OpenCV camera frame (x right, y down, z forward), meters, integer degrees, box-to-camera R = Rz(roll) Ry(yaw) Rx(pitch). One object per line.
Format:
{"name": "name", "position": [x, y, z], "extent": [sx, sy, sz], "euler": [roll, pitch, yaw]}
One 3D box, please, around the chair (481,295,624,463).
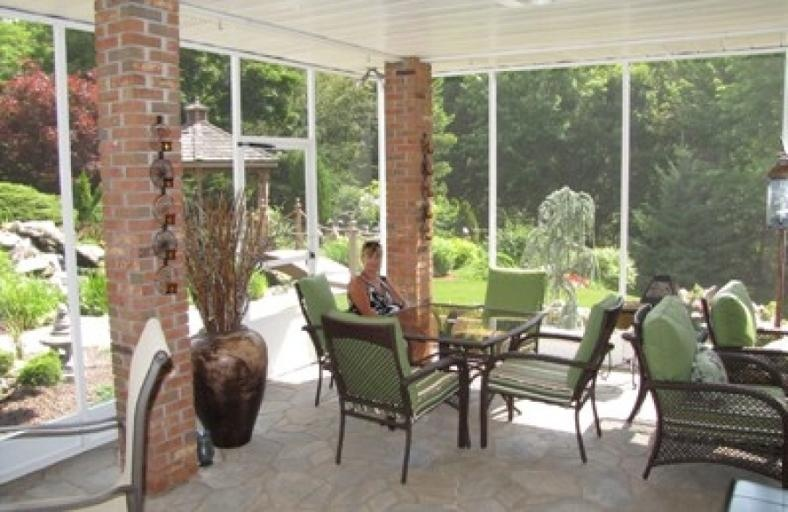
{"name": "chair", "position": [1.542, 1.052, 6.833], "extent": [1.570, 1.835, 1.326], "euler": [1, 2, 27]}

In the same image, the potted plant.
{"name": "potted plant", "position": [-1.664, 0.578, 6.603], "extent": [0.721, 2.488, 1.364], "euler": [-2, 7, -12]}

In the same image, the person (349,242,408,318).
{"name": "person", "position": [-0.184, 0.242, 7.079], "extent": [0.378, 0.781, 0.822], "euler": [2, 7, 24]}

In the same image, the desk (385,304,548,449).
{"name": "desk", "position": [0.859, 1.375, 6.793], "extent": [1.201, 1.016, 1.696], "euler": [5, -15, -35]}

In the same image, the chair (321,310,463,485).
{"name": "chair", "position": [0.152, 1.103, 6.247], "extent": [1.194, 1.772, 1.563], "euler": [2, 6, 37]}
